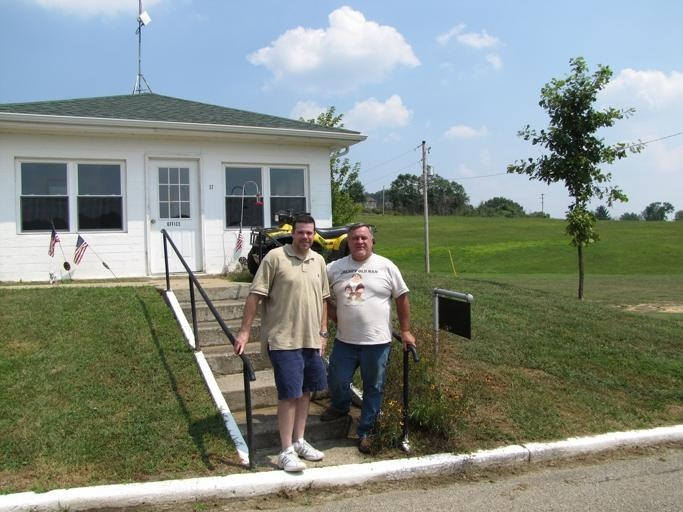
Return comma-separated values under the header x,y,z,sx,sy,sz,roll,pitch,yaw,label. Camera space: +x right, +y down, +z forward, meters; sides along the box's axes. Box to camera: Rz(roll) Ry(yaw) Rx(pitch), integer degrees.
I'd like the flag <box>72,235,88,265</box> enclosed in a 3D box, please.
x,y,z,sx,sy,sz,roll,pitch,yaw,label
-5.411,-0.138,11.791,0.276,0.593,0.111,-2,4,-23,flag

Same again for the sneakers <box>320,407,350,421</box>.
x,y,z,sx,sy,sz,roll,pitch,yaw,label
-0.102,1.934,6.970,0.375,0.181,0.146,5,-3,-19,sneakers

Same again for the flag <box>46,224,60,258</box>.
x,y,z,sx,sy,sz,roll,pitch,yaw,label
-5.916,-0.342,11.689,0.193,0.720,0.188,1,4,20,flag

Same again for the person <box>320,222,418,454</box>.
x,y,z,sx,sy,sz,roll,pitch,yaw,label
0.273,1.131,6.736,1.021,2.252,0.460,-1,3,-1,person

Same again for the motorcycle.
x,y,z,sx,sy,sz,roll,pitch,yaw,label
-0.632,-0.254,11.241,2.433,1.644,1.305,4,-4,-23,motorcycle

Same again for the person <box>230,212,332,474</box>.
x,y,z,sx,sy,sz,roll,pitch,yaw,label
-0.586,0.921,6.294,0.965,2.766,0.447,-1,4,-9,person

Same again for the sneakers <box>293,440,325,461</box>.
x,y,z,sx,sy,sz,roll,pitch,yaw,label
-0.380,2.168,6.398,0.414,0.195,0.167,7,0,22,sneakers

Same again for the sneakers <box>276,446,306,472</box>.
x,y,z,sx,sy,sz,roll,pitch,yaw,label
-0.553,2.181,6.179,0.321,0.253,0.203,0,4,7,sneakers
